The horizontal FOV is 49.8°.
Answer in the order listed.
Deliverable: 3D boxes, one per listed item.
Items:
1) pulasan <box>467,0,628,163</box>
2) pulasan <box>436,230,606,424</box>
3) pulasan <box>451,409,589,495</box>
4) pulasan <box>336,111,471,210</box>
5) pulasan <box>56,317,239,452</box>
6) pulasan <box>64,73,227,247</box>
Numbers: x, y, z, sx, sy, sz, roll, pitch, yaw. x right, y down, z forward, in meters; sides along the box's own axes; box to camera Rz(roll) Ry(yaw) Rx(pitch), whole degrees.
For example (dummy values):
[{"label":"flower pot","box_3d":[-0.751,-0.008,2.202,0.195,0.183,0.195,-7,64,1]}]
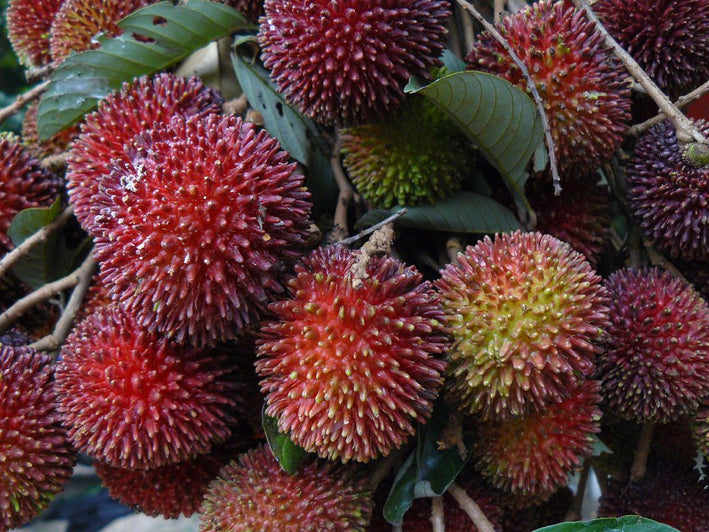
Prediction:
[{"label":"pulasan","box_3d":[0.346,-0.312,1.300,0.244,0.205,0.257,30,117,43]},{"label":"pulasan","box_3d":[0.254,0.052,1.202,0.210,0.268,0.274,13,120,36]},{"label":"pulasan","box_3d":[0.288,0.291,1.251,0.195,0.214,0.139,-13,77,14]},{"label":"pulasan","box_3d":[0.088,-0.174,1.264,0.159,0.127,0.178,-5,39,-2]},{"label":"pulasan","box_3d":[-0.317,0.186,1.229,0.223,0.227,0.223,30,102,35]},{"label":"pulasan","box_3d":[-0.358,-0.202,1.306,0.231,0.255,0.243,-7,97,48]}]
